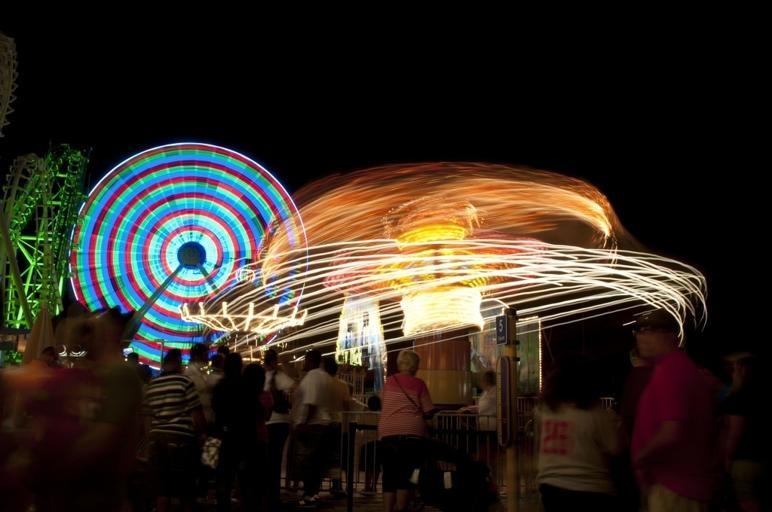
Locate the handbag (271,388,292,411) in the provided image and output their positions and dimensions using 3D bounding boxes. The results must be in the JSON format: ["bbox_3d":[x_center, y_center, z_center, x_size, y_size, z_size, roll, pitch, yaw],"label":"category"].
[{"bbox_3d":[-1.612,2.226,11.077,0.291,0.149,0.360,16,-2,-3],"label":"handbag"}]
